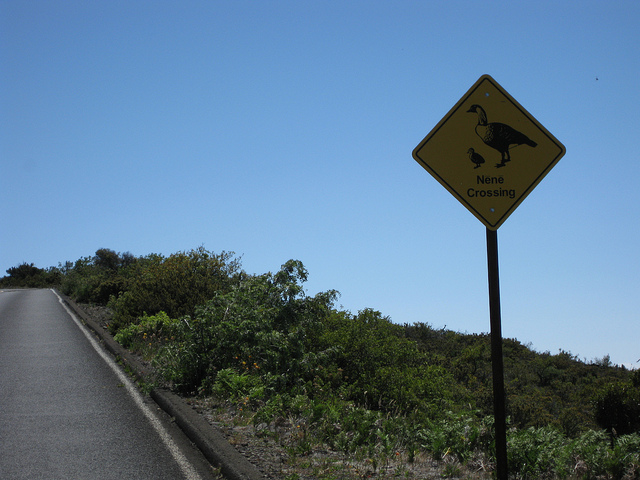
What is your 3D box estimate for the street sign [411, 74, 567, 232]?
[{"bbox_3d":[2.322,-1.233,6.681,1.788,2.189,0.326,-1,3,-7],"label":"street sign"}]
